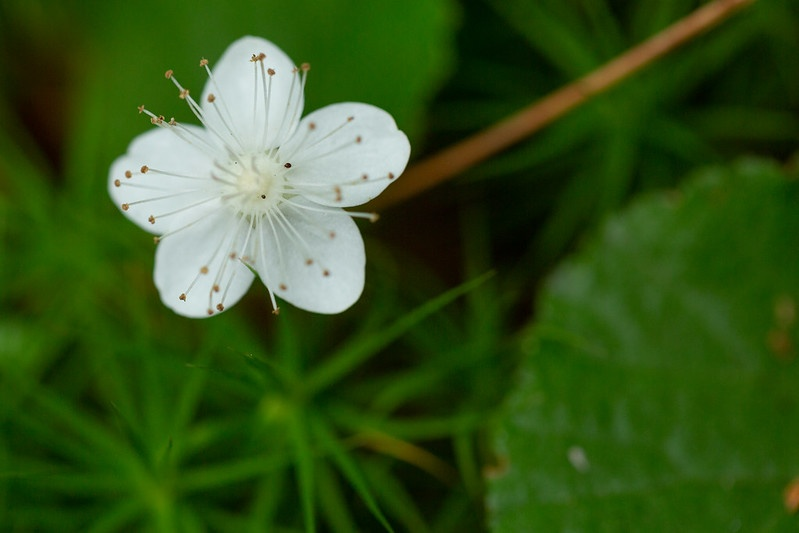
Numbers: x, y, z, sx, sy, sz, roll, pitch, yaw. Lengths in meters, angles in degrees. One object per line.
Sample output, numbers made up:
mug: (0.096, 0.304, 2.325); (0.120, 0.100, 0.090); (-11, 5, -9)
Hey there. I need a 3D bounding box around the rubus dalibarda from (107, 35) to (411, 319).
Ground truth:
rubus dalibarda: (-0.246, -0.136, 1.447); (0.433, 0.259, 0.471); (29, -71, -22)
